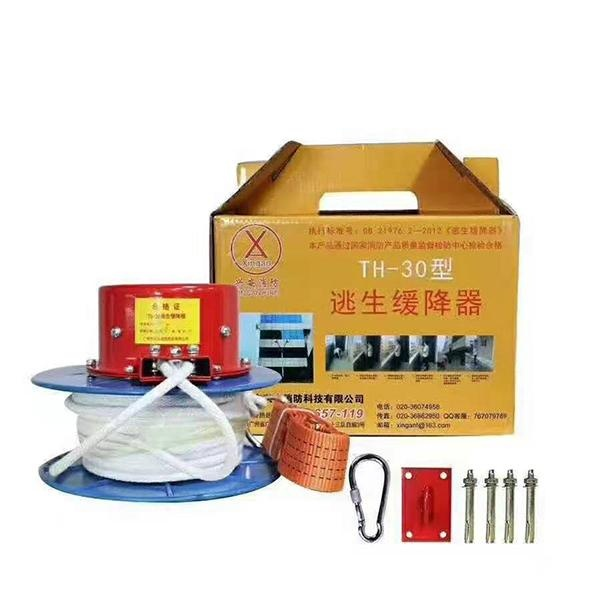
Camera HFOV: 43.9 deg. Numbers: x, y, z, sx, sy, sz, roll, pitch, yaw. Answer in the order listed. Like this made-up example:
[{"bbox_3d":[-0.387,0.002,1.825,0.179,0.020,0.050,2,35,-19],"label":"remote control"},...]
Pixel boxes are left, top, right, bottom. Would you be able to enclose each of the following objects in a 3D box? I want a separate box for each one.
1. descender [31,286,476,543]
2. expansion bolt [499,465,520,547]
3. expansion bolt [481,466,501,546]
[{"bbox_3d":[-0.196,0.308,2.254,1.049,0.433,0.768,0,1,-1],"label":"descender"},{"bbox_3d":[0.641,0.635,2.291,0.042,0.217,0.010,5,-5,-10],"label":"expansion bolt"},{"bbox_3d":[0.584,0.633,2.285,0.047,0.216,0.007,5,-5,-11],"label":"expansion bolt"}]
